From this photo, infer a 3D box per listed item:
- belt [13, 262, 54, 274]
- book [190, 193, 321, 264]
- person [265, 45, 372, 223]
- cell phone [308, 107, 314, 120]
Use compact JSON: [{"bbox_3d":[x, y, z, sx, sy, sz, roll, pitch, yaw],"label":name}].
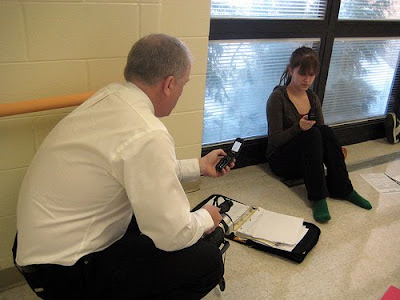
[{"bbox_3d":[-0.649,0.468,1.167,0.073,0.029,0.065,12,0,-16],"label":"belt"},{"bbox_3d":[0.388,0.511,1.972,0.723,0.123,0.438,16,38,29],"label":"book"},{"bbox_3d":[0.898,-0.192,2.368,0.510,1.148,0.931,-11,24,-16],"label":"person"},{"bbox_3d":[0.850,-0.272,2.266,0.048,0.107,0.125,5,25,20],"label":"cell phone"}]
